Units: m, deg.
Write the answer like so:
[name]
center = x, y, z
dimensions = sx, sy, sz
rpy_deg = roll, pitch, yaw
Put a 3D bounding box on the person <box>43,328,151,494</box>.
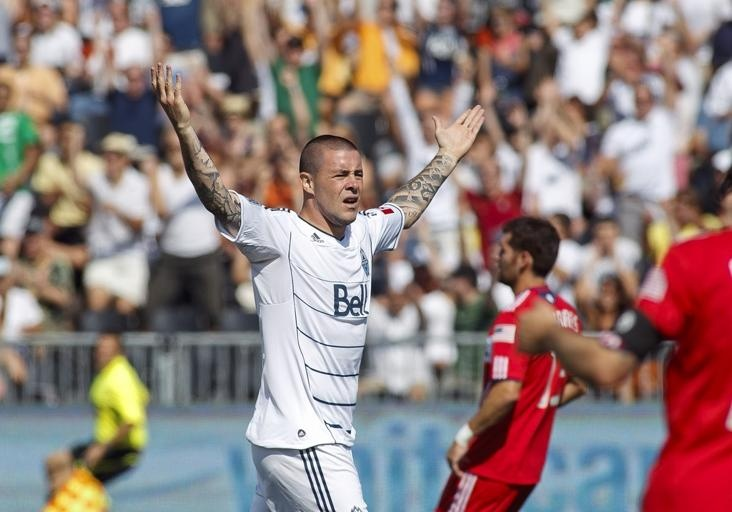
[person]
center = -2.778, 1.828, 18.550
dimensions = 0.935, 2.246, 0.985
rpy_deg = 5, 7, 0
